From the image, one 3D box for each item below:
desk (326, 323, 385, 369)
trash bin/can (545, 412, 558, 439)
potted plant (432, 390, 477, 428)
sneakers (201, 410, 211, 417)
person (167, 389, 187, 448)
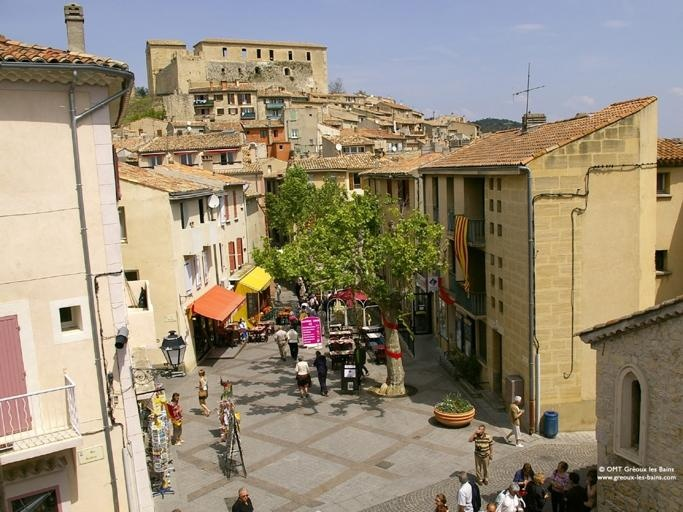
[{"bbox_3d":[0.726,4.499,39.459,2.534,1.063,4.107,0,-2,-1],"label":"desk"},{"bbox_3d":[7.702,6.224,29.561,0.487,0.945,0.353,-2,12,7],"label":"trash bin/can"},{"bbox_3d":[4.390,5.889,30.766,1.273,0.829,1.234,1,-1,-23],"label":"potted plant"},{"bbox_3d":[-5.568,6.474,33.157,0.155,0.175,0.443,-33,15,-33],"label":"sneakers"},{"bbox_3d":[-6.314,6.119,30.376,0.522,1.912,1.340,-6,12,-13],"label":"person"}]
